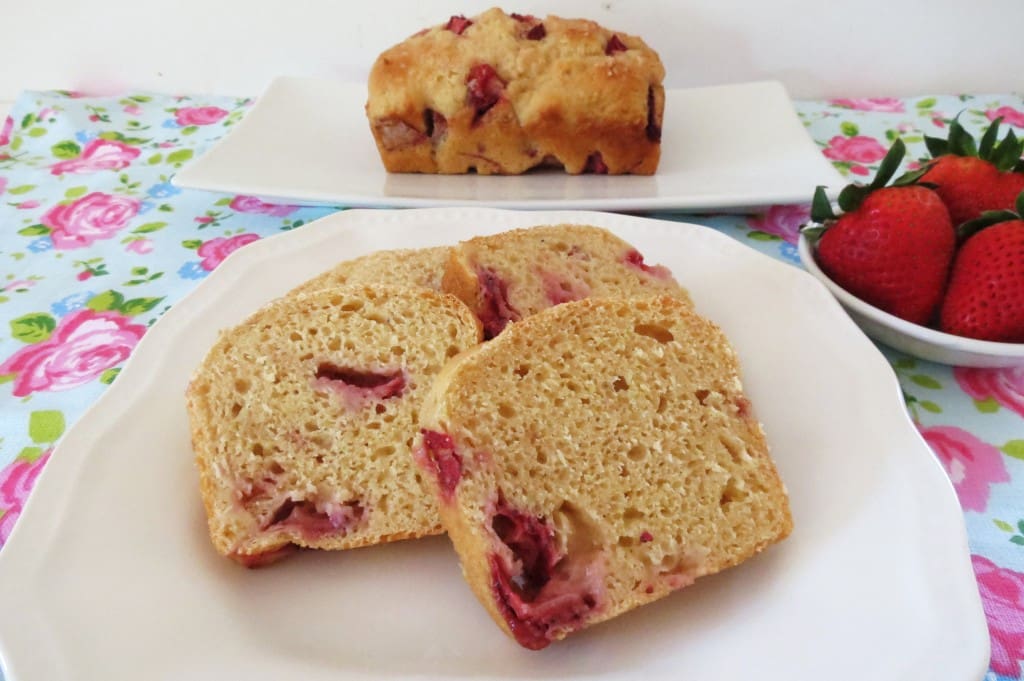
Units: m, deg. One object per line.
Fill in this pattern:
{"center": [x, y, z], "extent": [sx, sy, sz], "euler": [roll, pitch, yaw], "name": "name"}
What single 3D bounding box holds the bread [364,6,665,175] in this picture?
{"center": [0.016, -0.851, 3.016], "extent": [0.852, 0.332, 0.558], "euler": [1, 47, 0], "name": "bread"}
